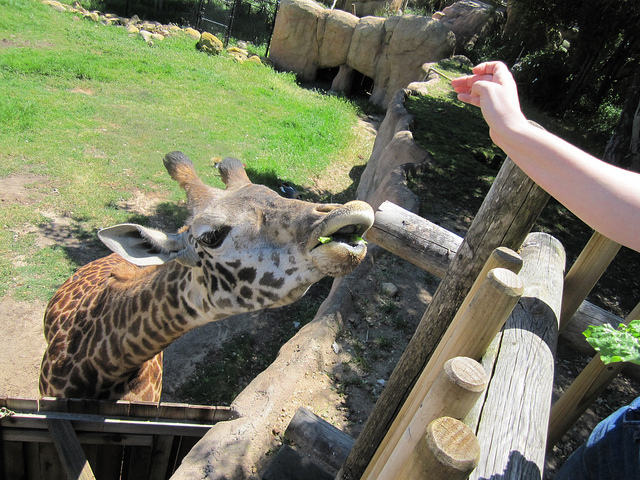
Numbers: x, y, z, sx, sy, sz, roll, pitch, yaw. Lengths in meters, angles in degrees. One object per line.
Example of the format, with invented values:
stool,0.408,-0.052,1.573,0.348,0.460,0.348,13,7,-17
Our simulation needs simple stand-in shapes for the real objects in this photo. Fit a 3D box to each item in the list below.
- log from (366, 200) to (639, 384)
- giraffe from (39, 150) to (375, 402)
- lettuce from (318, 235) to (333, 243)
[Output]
log,1.667,0.541,5.733,2.293,0.353,0.358,32,27,13
giraffe,-1.043,0.313,5.857,3.509,2.084,1.911,-22,0,35
lettuce,0.038,-0.024,4.994,0.119,0.056,0.038,-1,-3,-16
